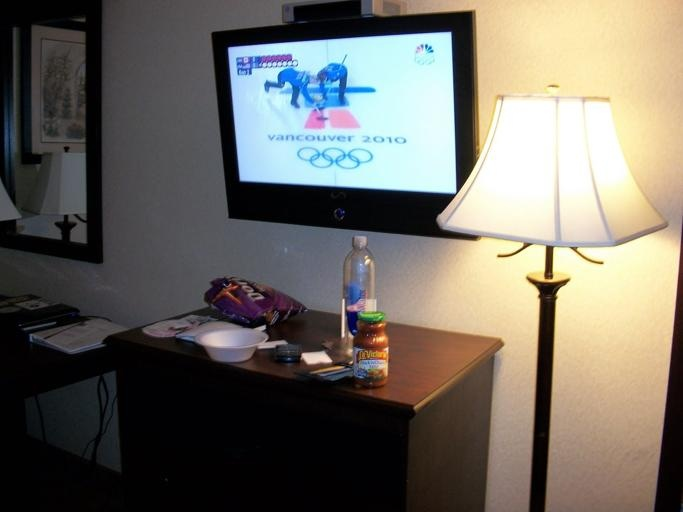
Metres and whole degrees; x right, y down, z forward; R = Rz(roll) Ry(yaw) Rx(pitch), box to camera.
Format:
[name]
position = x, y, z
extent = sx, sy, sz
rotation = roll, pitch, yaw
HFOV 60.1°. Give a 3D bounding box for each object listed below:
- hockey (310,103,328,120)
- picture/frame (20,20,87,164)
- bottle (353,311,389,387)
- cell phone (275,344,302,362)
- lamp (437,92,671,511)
[hockey]
position = -0.081, -0.509, 2.058
extent = 0.038, 0.067, 0.064
rotation = -11, 43, -19
[picture/frame]
position = -1.377, -0.800, 2.863
extent = 0.625, 0.773, 0.029
rotation = 7, 8, 34
[bottle]
position = 0.093, 0.246, 1.648
extent = 0.124, 0.207, 0.109
rotation = -4, 13, -14
[cell phone]
position = -0.162, 0.296, 1.817
extent = 0.077, 0.032, 0.091
rotation = -2, 13, -7
[lamp]
position = 0.569, 0.157, 1.661
extent = 0.600, 1.229, 0.282
rotation = 1, 12, 10
